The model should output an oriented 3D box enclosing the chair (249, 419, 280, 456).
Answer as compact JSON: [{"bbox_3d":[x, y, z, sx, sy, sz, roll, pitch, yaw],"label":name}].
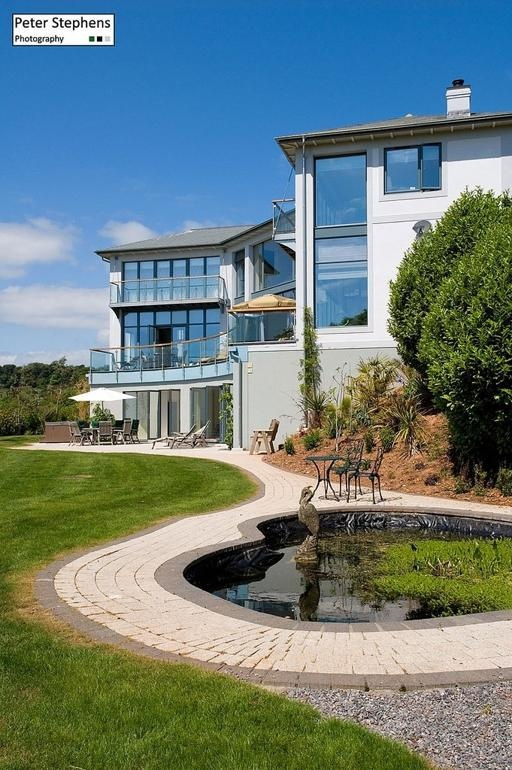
[{"bbox_3d":[0.164,1.525,20.475,0.885,1.237,0.874,-1,-4,12],"label":"chair"}]

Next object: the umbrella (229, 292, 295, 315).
[{"bbox_3d":[0.274,-2.548,22.915,2.012,0.699,1.221,-1,-1,18],"label":"umbrella"}]
